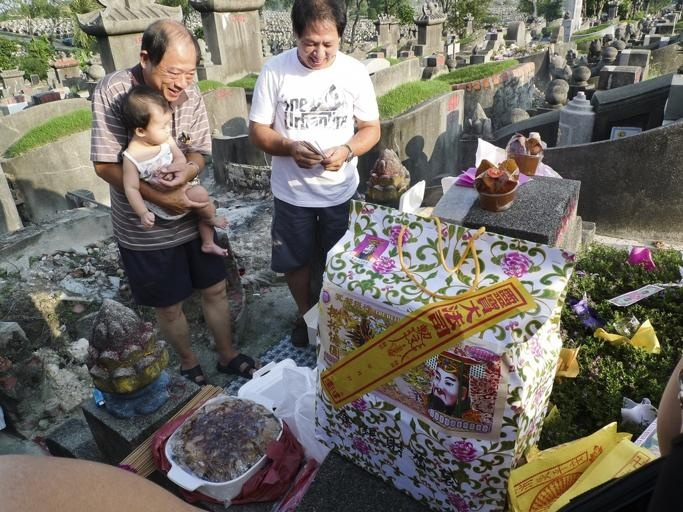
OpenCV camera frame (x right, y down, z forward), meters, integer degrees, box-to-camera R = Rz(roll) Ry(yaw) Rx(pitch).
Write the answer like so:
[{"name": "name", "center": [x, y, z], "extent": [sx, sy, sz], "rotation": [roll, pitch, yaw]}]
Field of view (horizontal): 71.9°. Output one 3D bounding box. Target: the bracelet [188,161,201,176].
[{"name": "bracelet", "center": [-0.825, -0.508, 2.671], "extent": [0.021, 0.077, 0.075], "rotation": [-18, -2, -10]}]

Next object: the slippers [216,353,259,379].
[{"name": "slippers", "center": [-0.679, 0.734, 3.199], "extent": [0.316, 0.133, 0.132], "rotation": [10, 44, 15]}]

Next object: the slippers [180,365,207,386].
[{"name": "slippers", "center": [-0.920, 0.741, 2.914], "extent": [0.192, 0.082, 0.070], "rotation": [21, 31, 30]}]

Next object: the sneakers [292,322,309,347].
[{"name": "sneakers", "center": [-0.291, 0.565, 3.354], "extent": [0.073, 0.142, 0.218], "rotation": [1, 8, 3]}]

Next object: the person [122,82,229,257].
[{"name": "person", "center": [-0.904, -0.399, 2.573], "extent": [0.532, 0.860, 0.567], "rotation": [7, 29, -5]}]

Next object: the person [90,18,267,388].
[{"name": "person", "center": [-0.993, -0.217, 2.761], "extent": [0.646, 2.148, 0.603], "rotation": [-16, 27, -33]}]
